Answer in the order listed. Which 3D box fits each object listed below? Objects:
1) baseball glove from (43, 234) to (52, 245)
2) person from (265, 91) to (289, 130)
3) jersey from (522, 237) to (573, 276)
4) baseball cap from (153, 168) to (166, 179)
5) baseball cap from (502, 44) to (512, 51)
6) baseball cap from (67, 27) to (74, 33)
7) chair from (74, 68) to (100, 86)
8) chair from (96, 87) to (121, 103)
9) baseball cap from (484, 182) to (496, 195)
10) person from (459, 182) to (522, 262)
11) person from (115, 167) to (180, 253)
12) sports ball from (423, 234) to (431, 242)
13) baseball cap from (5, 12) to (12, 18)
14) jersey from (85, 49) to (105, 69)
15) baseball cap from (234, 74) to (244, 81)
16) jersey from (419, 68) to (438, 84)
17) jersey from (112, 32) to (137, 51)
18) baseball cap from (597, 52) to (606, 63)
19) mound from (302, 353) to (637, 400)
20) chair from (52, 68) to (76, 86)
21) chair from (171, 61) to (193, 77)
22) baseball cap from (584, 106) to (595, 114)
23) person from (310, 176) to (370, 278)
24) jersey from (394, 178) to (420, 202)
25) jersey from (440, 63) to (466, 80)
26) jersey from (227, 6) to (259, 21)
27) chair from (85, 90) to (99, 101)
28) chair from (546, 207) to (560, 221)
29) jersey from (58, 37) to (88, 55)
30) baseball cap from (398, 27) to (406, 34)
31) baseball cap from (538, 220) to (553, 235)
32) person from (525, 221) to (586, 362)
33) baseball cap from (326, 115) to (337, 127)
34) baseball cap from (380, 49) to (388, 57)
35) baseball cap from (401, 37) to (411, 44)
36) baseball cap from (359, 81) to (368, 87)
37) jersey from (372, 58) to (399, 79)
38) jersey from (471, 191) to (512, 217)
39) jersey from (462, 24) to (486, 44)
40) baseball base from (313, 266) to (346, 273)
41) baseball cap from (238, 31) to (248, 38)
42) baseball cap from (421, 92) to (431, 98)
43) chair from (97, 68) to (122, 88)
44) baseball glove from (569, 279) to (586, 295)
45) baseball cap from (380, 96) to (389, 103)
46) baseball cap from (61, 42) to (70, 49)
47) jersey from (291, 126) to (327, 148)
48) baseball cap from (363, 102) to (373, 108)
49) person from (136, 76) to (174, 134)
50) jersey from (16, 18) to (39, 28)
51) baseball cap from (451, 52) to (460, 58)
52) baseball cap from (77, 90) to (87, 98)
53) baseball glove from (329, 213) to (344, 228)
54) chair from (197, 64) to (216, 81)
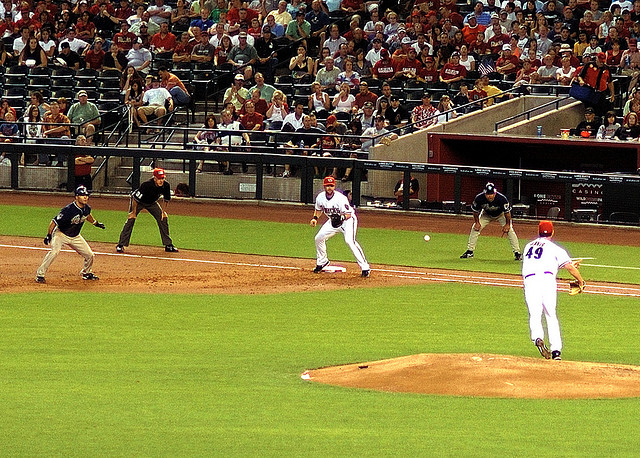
[{"bbox_3d":[-5.276,0.200,25.363,0.224,0.203,0.113,8,17,-12],"label":"baseball glove"},{"bbox_3d":[-1.186,-3.263,36.174,0.603,1.057,0.431,3,2,10],"label":"person"},{"bbox_3d":[3.898,0.498,22.353,0.923,0.674,0.448,1,2,36],"label":"jersey"},{"bbox_3d":[-3.512,-1.195,28.535,0.226,0.142,0.309,-8,18,-30],"label":"baseball cap"},{"bbox_3d":[5.132,-4.940,35.657,0.205,0.188,0.239,2,2,8],"label":"baseball cap"},{"bbox_3d":[-7.648,-6.102,40.127,0.218,0.151,0.136,4,3,44],"label":"baseball cap"},{"bbox_3d":[-6.927,-4.502,38.812,0.592,0.649,0.608,0,-2,-3],"label":"chair"},{"bbox_3d":[-6.181,-3.896,38.277,0.568,0.619,0.555,0,0,-7],"label":"chair"},{"bbox_3d":[3.670,-0.869,27.971,0.275,0.240,0.336,0,0,8],"label":"baseball cap"},{"bbox_3d":[3.671,-0.134,28.378,1.177,1.676,1.086,4,3,38],"label":"person"},{"bbox_3d":[-3.869,-0.383,28.927,1.242,1.864,0.951,3,2,12],"label":"person"},{"bbox_3d":[2.501,0.217,30.162,0.140,0.131,0.077,29,5,30],"label":"sports ball"},{"bbox_3d":[-10.249,-7.049,43.096,0.203,0.241,0.142,-1,7,-7],"label":"baseball cap"},{"bbox_3d":[-6.748,-5.103,39.368,0.761,0.534,0.277,1,1,-1],"label":"jersey"},{"bbox_3d":[-2.285,-4.203,36.333,0.247,0.156,0.374,3,-2,-10],"label":"baseball cap"},{"bbox_3d":[3.039,-4.262,36.239,0.514,0.367,0.125,2,2,-1],"label":"jersey"},{"bbox_3d":[-5.937,-5.703,40.029,1.081,0.693,0.491,0,4,-2],"label":"jersey"},{"bbox_3d":[7.241,-4.381,33.459,0.172,0.271,0.279,3,2,20],"label":"baseball cap"},{"bbox_3d":[2.509,2.240,20.082,4.750,0.497,1.490,2,2,7],"label":"mound"},{"bbox_3d":[-7.625,-4.511,39.156,0.667,0.590,0.580,2,15,-3],"label":"chair"},{"bbox_3d":[-4.011,-4.700,38.806,0.603,0.704,0.630,1,8,2],"label":"chair"},{"bbox_3d":[6.996,-3.053,33.736,0.288,0.140,0.420,1,7,17],"label":"baseball cap"},{"bbox_3d":[0.473,-0.038,26.937,1.205,2.039,0.951,2,2,0],"label":"person"},{"bbox_3d":[2.314,-1.025,34.513,0.644,0.624,0.618,2,2,3],"label":"jersey"},{"bbox_3d":[3.707,-4.331,36.081,0.808,0.544,0.422,3,5,14],"label":"jersey"},{"bbox_3d":[-2.362,-6.556,39.965,1.057,0.443,0.594,2,2,13],"label":"jersey"},{"bbox_3d":[-6.685,-3.906,38.371,0.335,0.369,0.341,0,3,-12],"label":"chair"},{"bbox_3d":[5.945,-0.389,33.100,0.288,0.387,0.314,9,33,22],"label":"chair"},{"bbox_3d":[-7.565,-5.587,40.140,0.712,0.463,0.203,-12,18,-11],"label":"jersey"},{"bbox_3d":[2.364,-5.643,37.255,0.328,0.154,0.459,0,1,0],"label":"baseball cap"},{"bbox_3d":[3.734,-0.008,21.495,0.207,0.226,0.389,2,2,6],"label":"baseball cap"},{"bbox_3d":[3.750,0.980,21.094,0.804,2.159,1.013,2,2,-1],"label":"person"},{"bbox_3d":[0.336,-2.911,35.152,0.222,0.294,0.235,2,2,-2],"label":"baseball cap"},{"bbox_3d":[1.801,-4.854,36.188,0.196,0.203,0.264,2,2,3],"label":"baseball cap"},{"bbox_3d":[2.442,-5.238,36.464,0.229,0.188,0.338,2,2,7],"label":"baseball cap"},{"bbox_3d":[1.188,-3.863,34.936,0.204,0.127,0.163,3,2,25],"label":"baseball cap"},{"bbox_3d":[1.876,-4.433,36.671,1.050,0.694,0.507,1,8,3],"label":"jersey"},{"bbox_3d":[3.719,-0.505,28.080,0.982,0.637,0.459,4,45,18],"label":"jersey"},{"bbox_3d":[4.365,-5.483,36.856,0.661,0.519,0.352,2,2,9],"label":"jersey"},{"bbox_3d":[0.312,0.851,27.421,0.573,0.125,0.296,1,2,-22],"label":"baseball base"},{"bbox_3d":[-2.207,-5.610,37.813,0.173,0.135,0.206,-20,16,-36],"label":"baseball cap"},{"bbox_3d":[2.888,-3.607,35.373,0.281,0.135,0.414,0,-3,0],"label":"baseball cap"},{"bbox_3d":[-6.233,-4.476,38.733,0.751,0.636,0.661,1,2,2],"label":"chair"},{"bbox_3d":[4.200,0.951,21.294,0.198,0.272,0.639,3,2,10],"label":"baseball glove"},{"bbox_3d":[1.759,-3.458,35.100,0.134,0.162,0.102,0,18,10],"label":"baseball cap"},{"bbox_3d":[-7.754,-5.573,39.839,0.201,0.131,0.192,3,17,13],"label":"baseball cap"},{"bbox_3d":[-0.263,-2.436,35.161,0.713,0.339,0.182,-4,4,7],"label":"jersey"},{"bbox_3d":[1.315,-3.308,35.023,0.234,0.144,0.315,2,2,4],"label":"baseball cap"},{"bbox_3d":[-4.718,-3.583,37.270,1.108,1.485,0.876,-3,1,4],"label":"person"},{"bbox_3d":[-9.308,-6.524,41.594,0.750,0.361,0.229,-3,-40,5],"label":"jersey"},{"bbox_3d":[3.750,-4.757,35.833,0.227,0.159,0.252,2,2,-2],"label":"baseball cap"},{"bbox_3d":[-6.740,-3.830,37.141,0.245,0.130,0.356,-2,1,-10],"label":"baseball cap"},{"bbox_3d":[0.358,-0.168,26.699,0.236,0.299,0.177,4,2,37],"label":"baseball glove"},{"bbox_3d":[-3.328,-4.544,38.282,0.544,0.595,0.566,2,8,4],"label":"chair"}]
